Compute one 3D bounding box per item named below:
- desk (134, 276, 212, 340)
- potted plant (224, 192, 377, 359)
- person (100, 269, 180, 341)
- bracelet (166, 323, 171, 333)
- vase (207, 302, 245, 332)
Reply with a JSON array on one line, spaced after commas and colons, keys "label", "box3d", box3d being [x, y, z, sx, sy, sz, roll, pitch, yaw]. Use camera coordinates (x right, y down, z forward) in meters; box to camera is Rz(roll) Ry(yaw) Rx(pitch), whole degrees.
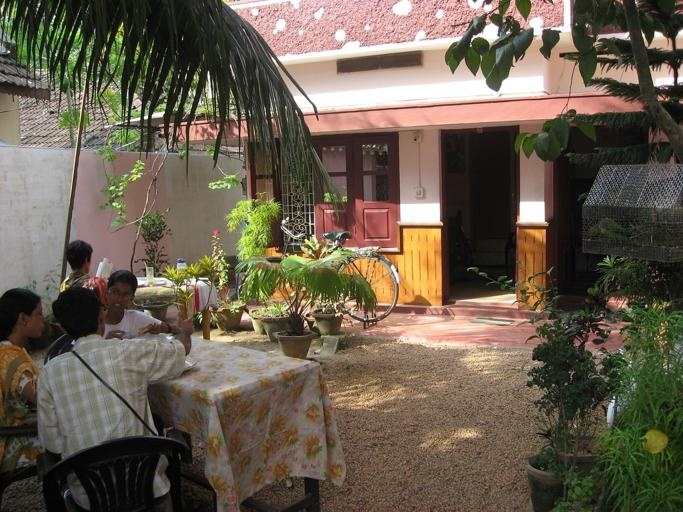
[{"label": "desk", "box3d": [-2.391, 0.652, 8.409, 1.124, 1.052, 1.236, 2, 3, 16]}, {"label": "potted plant", "box3d": [-0.559, 0.280, 7.881, 2.093, 1.838, 2.344, 4, 4, 5]}, {"label": "person", "box3d": [-2.059, 0.491, 5.772, 0.642, 0.976, 0.440, -8, 5, -28]}, {"label": "bracelet", "box3d": [-1.342, 0.568, 4.341, 0.044, 0.067, 0.033, -16, 8, -25]}, {"label": "vase", "box3d": [-1.840, 0.974, 9.163, 0.410, 0.328, 0.458, -1, 0, 1]}]
